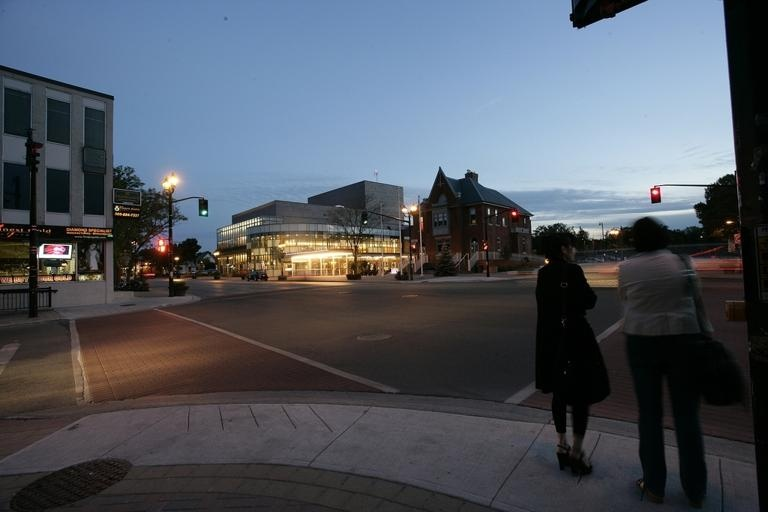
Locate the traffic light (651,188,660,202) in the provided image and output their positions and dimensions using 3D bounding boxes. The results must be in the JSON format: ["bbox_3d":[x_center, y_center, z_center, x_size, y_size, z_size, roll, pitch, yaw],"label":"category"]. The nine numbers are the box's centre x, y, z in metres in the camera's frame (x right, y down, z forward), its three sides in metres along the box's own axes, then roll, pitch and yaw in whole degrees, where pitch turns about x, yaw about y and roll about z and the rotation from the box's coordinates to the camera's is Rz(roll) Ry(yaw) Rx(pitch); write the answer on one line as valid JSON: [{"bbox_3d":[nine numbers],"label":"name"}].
[{"bbox_3d":[15.614,-3.517,30.912,0.459,0.893,1.199,2,9,21],"label":"traffic light"}]

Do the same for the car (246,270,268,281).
[{"bbox_3d":[-15.049,2.396,63.629,0.884,1.208,3.564,-9,11,-42],"label":"car"}]

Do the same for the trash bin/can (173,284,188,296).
[{"bbox_3d":[-12.181,2.062,32.144,0.648,0.473,0.631,0,-8,-6],"label":"trash bin/can"}]

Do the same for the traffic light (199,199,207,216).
[{"bbox_3d":[-9.435,-2.568,27.974,0.384,0.952,1.116,-5,9,-24],"label":"traffic light"}]

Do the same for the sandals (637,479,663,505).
[{"bbox_3d":[3.068,2.772,6.238,0.110,0.127,0.324,-1,9,10],"label":"sandals"}]

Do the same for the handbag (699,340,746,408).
[{"bbox_3d":[3.754,1.318,5.982,0.464,0.731,0.246,4,10,36],"label":"handbag"}]

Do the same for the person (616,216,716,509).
[{"bbox_3d":[3.288,1.205,6.300,0.982,3.256,0.815,2,8,20],"label":"person"}]

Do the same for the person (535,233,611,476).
[{"bbox_3d":[2.347,1.185,6.813,0.801,2.952,0.900,-1,8,2],"label":"person"}]

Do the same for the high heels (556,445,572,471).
[{"bbox_3d":[2.238,2.526,6.688,0.154,0.287,0.165,0,8,11],"label":"high heels"}]
